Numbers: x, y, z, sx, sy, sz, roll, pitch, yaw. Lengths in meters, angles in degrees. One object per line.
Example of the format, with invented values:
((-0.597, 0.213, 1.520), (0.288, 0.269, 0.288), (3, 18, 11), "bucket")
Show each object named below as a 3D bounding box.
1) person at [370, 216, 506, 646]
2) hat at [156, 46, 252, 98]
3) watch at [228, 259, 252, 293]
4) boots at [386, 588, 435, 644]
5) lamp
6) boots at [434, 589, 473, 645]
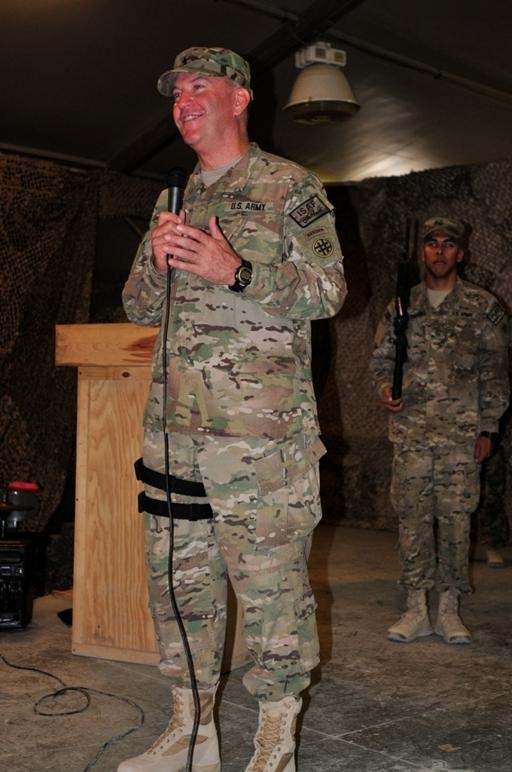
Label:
((0.859, 0.156, 3.445), (0.511, 1.935, 0.456), (1, -4, 20), "person")
((-0.116, -0.807, 1.882), (0.213, 0.078, 0.147), (10, -9, -31), "hat")
((-0.031, -0.234, 1.608), (0.029, 0.067, 0.060), (0, -4, 34), "watch")
((0.677, 1.028, 3.348), (0.098, 0.172, 0.299), (-7, -7, 43), "boots")
((0.375, -1.865, 4.810), (0.562, 0.444, 0.498), (-2, 2, -12), "lamp")
((0.872, 1.029, 3.362), (0.123, 0.186, 0.307), (-3, -3, 1), "boots")
